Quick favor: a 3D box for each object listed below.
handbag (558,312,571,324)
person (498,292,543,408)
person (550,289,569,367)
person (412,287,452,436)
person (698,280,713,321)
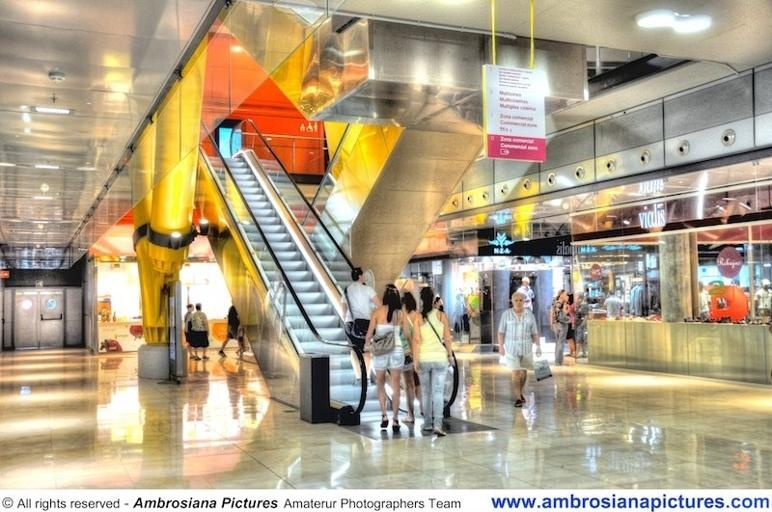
[{"bbox_3d":[4.633,1.659,14.921,0.291,0.292,0.126,4,-6,-29],"label":"handbag"},{"bbox_3d":[2.181,1.626,9.419,0.617,1.660,0.533,-1,-5,14],"label":"person"},{"bbox_3d":[4.557,1.849,14.970,0.406,1.928,0.712,-1,-5,17],"label":"person"},{"bbox_3d":[0.631,1.426,7.921,0.523,1.989,0.581,0,-5,9],"label":"person"},{"bbox_3d":[6.533,0.932,11.766,0.186,0.772,0.250,5,-7,-41],"label":"person"}]
